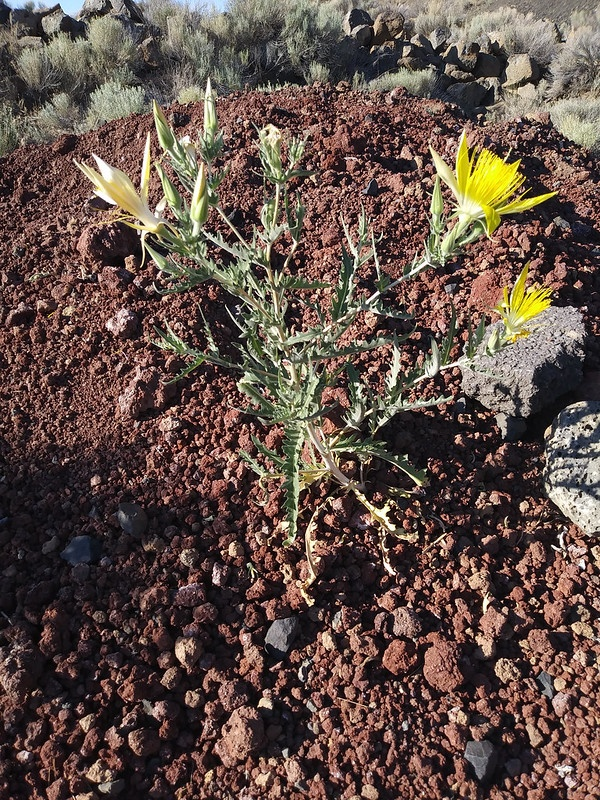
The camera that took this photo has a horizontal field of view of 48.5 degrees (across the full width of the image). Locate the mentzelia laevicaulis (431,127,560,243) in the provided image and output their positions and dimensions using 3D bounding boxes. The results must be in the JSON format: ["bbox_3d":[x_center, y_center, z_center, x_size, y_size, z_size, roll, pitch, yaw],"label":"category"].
[{"bbox_3d":[0.408,-0.464,1.490,0.268,0.143,0.246,1,50,-10],"label":"mentzelia laevicaulis"}]
